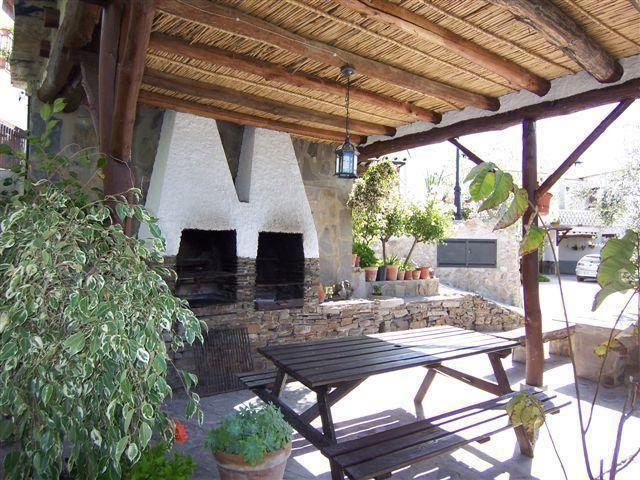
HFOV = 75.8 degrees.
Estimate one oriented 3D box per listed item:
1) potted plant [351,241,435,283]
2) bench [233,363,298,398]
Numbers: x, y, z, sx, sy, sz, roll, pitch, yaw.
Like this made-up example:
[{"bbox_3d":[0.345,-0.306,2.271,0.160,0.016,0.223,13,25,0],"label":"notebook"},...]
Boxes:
[{"bbox_3d":[2.025,0.577,10.446,1.474,0.558,1.072,-1,2,-28],"label":"potted plant"},{"bbox_3d":[-0.539,1.296,3.843,0.602,0.151,0.375,9,3,-41],"label":"bench"}]
